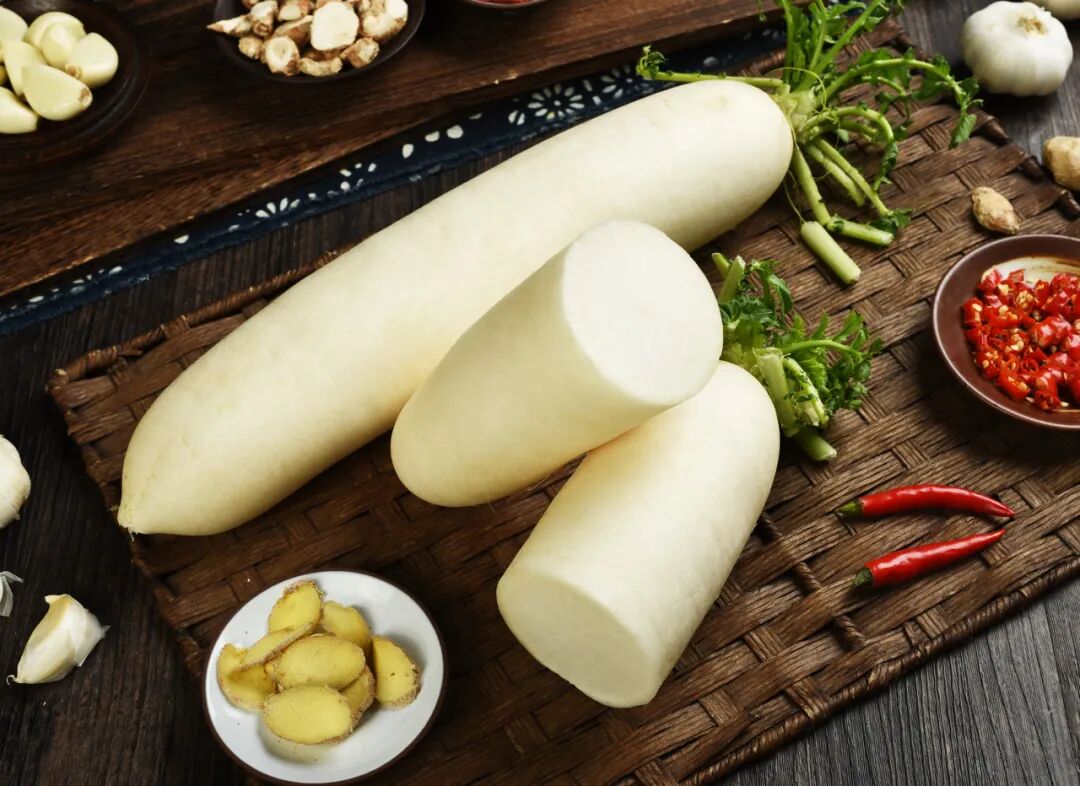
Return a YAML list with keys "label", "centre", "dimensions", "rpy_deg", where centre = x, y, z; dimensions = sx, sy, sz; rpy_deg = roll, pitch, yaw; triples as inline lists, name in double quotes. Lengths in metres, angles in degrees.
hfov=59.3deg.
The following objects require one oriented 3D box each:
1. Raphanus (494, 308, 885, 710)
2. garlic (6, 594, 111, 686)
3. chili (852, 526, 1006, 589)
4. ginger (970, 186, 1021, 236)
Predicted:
- label: "Raphanus"
  centre: [0.215, 0.156, 1.418]
  dimensions: [0.273, 0.231, 0.576]
  rpy_deg: [36, 63, 16]
- label: "garlic"
  centre: [-0.753, 0.392, 1.465]
  dimensions: [0.096, 0.078, 0.144]
  rpy_deg: [32, 63, 11]
- label: "chili"
  centre: [0.589, 0.252, 1.443]
  dimensions: [0.269, 0.047, 0.046]
  rpy_deg: [-15, 31, -12]
- label: "ginger"
  centre: [0.779, -0.314, 1.665]
  dimensions: [0.064, 0.029, 0.094]
  rpy_deg: [-32, 68, -16]
